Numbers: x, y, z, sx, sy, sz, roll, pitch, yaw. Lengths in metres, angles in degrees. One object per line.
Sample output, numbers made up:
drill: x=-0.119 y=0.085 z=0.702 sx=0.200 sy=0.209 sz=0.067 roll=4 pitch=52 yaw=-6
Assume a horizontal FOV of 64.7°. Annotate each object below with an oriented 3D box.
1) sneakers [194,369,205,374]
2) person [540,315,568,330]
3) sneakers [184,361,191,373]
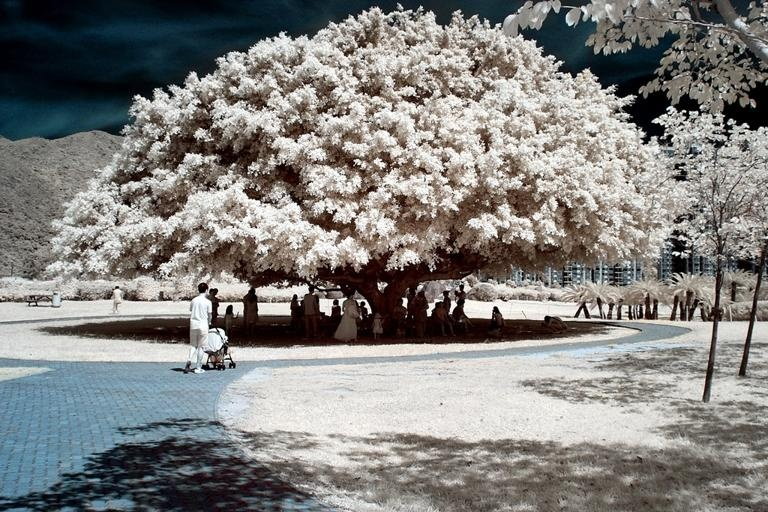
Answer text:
sneakers: x=-4.906 y=3.051 z=16.015 sx=0.302 sy=0.140 sz=0.120 roll=-3 pitch=-3 yaw=5
person: x=8.152 y=3.342 z=28.826 sx=0.888 sy=0.703 sz=0.375 roll=7 pitch=-41 yaw=25
sneakers: x=-5.305 y=2.999 z=16.223 sx=0.219 sy=0.256 sz=0.575 roll=2 pitch=-18 yaw=-9
